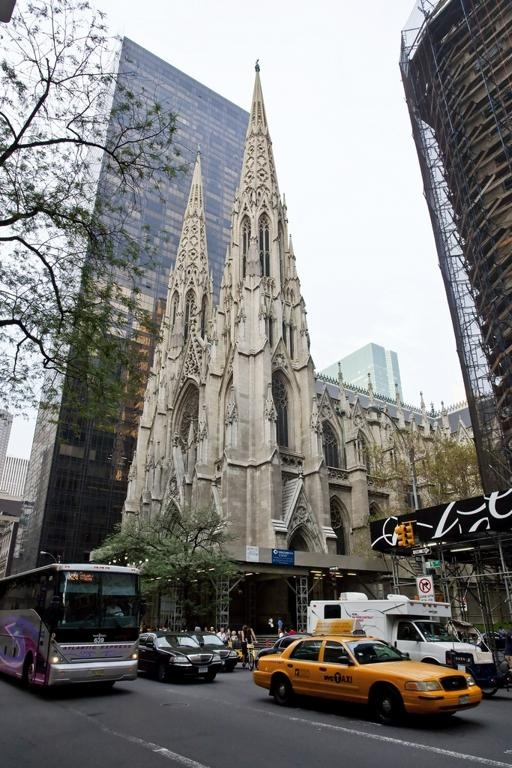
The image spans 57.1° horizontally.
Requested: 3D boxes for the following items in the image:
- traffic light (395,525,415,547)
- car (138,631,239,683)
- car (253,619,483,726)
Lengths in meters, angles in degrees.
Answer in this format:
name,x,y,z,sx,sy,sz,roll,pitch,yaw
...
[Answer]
name,x,y,z,sx,sy,sz,roll,pitch,yaw
traffic light,5.841,5.912,18.548,0.761,0.831,0.866,-10,-22,23
car,-2.266,7.518,13.114,1.336,0.967,3.164,19,-38,-27
car,1.615,4.804,7.736,1.478,1.178,4.268,11,-24,-30
